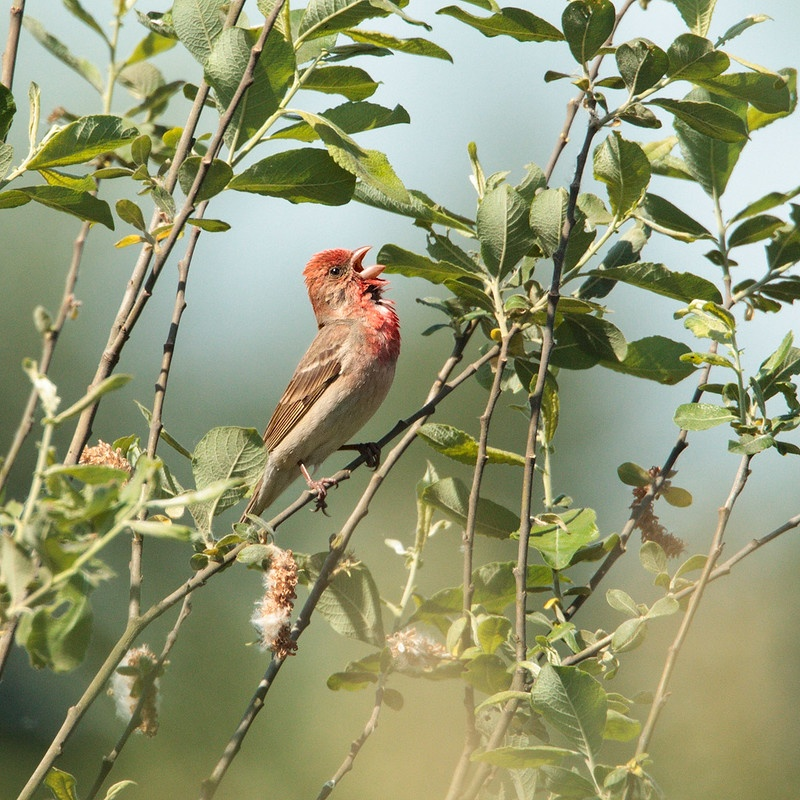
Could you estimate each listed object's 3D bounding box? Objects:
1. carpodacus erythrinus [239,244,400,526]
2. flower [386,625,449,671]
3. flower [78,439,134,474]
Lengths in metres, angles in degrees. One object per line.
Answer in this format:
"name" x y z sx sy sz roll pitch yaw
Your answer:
"carpodacus erythrinus" -0.351 -0.162 5.475 0.655 1.591 0.793 -1 2 -17
"flower" 0.033 0.561 2.429 0.097 0.101 0.047 -11 -47 16
"flower" -0.612 0.119 2.268 0.055 0.037 0.062 16 -10 3
